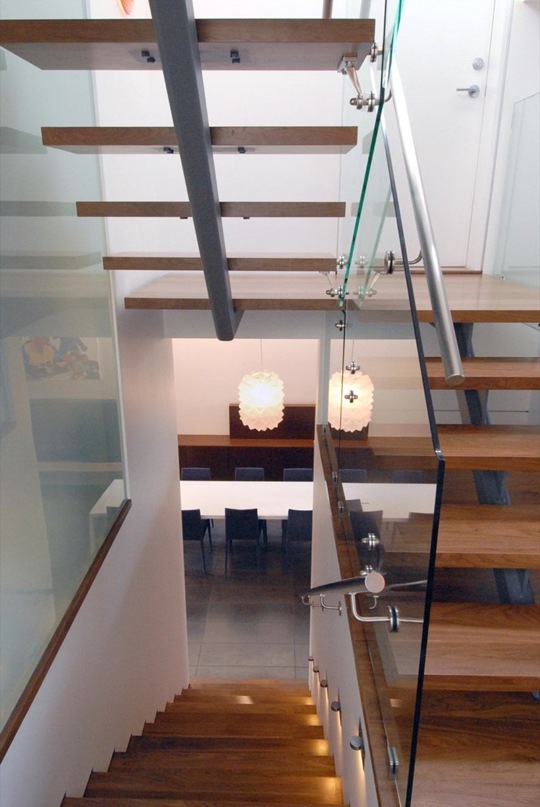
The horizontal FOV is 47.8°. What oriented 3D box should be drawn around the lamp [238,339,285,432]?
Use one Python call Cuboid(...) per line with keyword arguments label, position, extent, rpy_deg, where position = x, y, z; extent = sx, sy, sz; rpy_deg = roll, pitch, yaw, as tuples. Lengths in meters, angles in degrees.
Cuboid(label="lamp", position=(-0.067, -0.199, 5.923), extent=(0.386, 1.211, 0.601), rpy_deg=(3, -65, 1))
